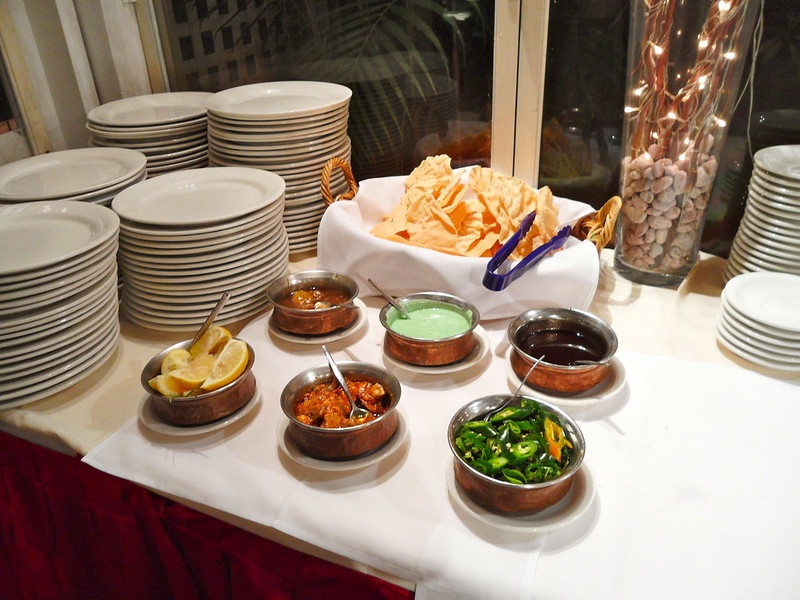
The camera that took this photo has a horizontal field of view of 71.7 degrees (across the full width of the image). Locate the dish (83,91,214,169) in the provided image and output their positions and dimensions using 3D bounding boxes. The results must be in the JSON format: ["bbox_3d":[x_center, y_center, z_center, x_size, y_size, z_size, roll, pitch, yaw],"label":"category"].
[{"bbox_3d":[-0.700,-0.484,1.658,0.306,0.141,0.328,-2,29,-2],"label":"dish"}]

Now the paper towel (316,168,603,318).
[{"bbox_3d":[0.128,-0.114,1.344,0.498,0.175,0.400,12,38,19],"label":"paper towel"}]

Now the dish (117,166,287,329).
[{"bbox_3d":[-0.456,-0.104,1.373,0.362,0.236,0.389,-2,30,-1],"label":"dish"}]

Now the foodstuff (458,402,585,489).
[{"bbox_3d":[0.192,0.236,0.914,0.122,0.052,0.130,21,38,27],"label":"foodstuff"}]

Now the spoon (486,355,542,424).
[{"bbox_3d":[0.216,0.170,1.037,0.018,0.019,0.124,24,57,15],"label":"spoon"}]

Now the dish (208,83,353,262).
[{"bbox_3d":[-0.338,-0.413,1.693,0.450,0.432,0.446,16,32,29],"label":"dish"}]

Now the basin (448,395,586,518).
[{"bbox_3d":[0.186,0.266,0.936,0.228,0.095,0.223,0,21,0],"label":"basin"}]

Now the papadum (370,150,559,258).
[{"bbox_3d":[0.167,-0.220,1.359,0.305,0.111,0.308,-32,47,-32],"label":"papadum"}]

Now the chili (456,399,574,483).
[{"bbox_3d":[0.182,0.234,0.917,0.123,0.053,0.129,21,36,27],"label":"chili"}]

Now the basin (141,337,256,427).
[{"bbox_3d":[-0.385,0.172,1.129,0.213,0.089,0.211,-3,21,1],"label":"basin"}]

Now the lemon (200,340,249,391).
[{"bbox_3d":[-0.334,0.126,1.070,0.062,0.030,0.131,23,45,-1],"label":"lemon"}]
